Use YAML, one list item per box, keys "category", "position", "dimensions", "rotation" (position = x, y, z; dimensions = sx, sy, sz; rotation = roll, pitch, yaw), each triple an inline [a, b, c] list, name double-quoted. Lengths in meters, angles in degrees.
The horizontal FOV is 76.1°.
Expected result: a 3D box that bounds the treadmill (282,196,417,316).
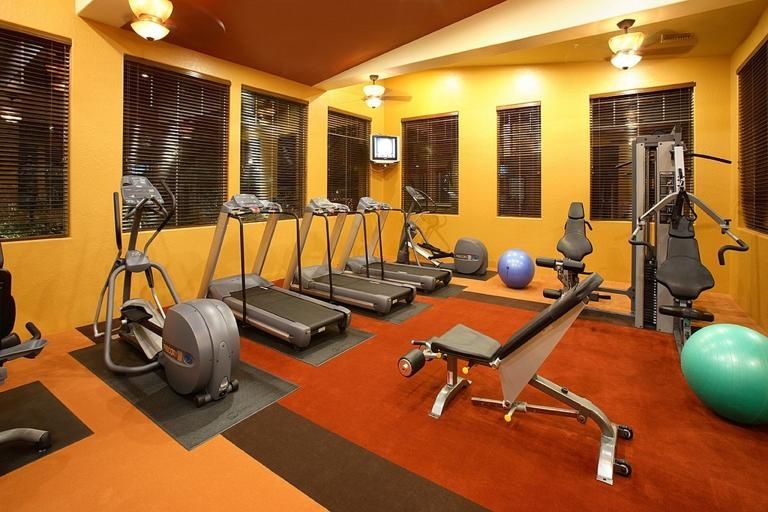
- category: "treadmill"
  position: [-0.505, -0.053, 7.135]
  dimensions: [1.930, 1.393, 0.922]
  rotation: [10, 12, 34]
